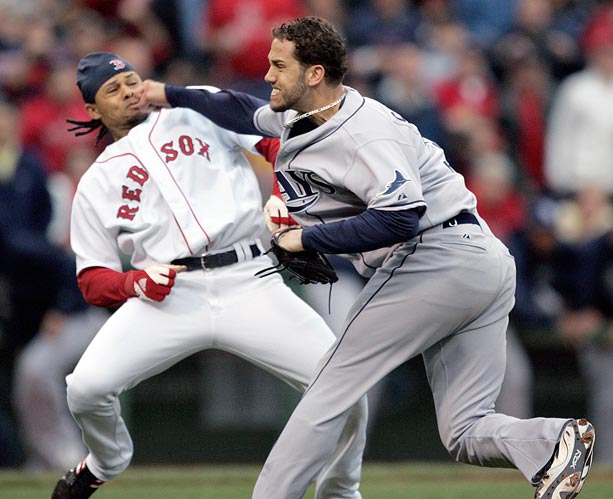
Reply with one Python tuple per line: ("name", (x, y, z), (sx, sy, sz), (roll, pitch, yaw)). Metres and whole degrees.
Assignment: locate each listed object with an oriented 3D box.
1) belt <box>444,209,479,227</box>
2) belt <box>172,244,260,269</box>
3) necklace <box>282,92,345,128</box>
("belt", (0.674, -0.133, 4.342), (0.138, 0.036, 0.077), (-16, 20, -20))
("belt", (-0.419, 0.045, 4.751), (0.220, 0.053, 0.181), (-11, -5, -28))
("necklace", (0.029, -0.591, 4.281), (0.192, 0.032, 0.141), (-29, 0, 22))
